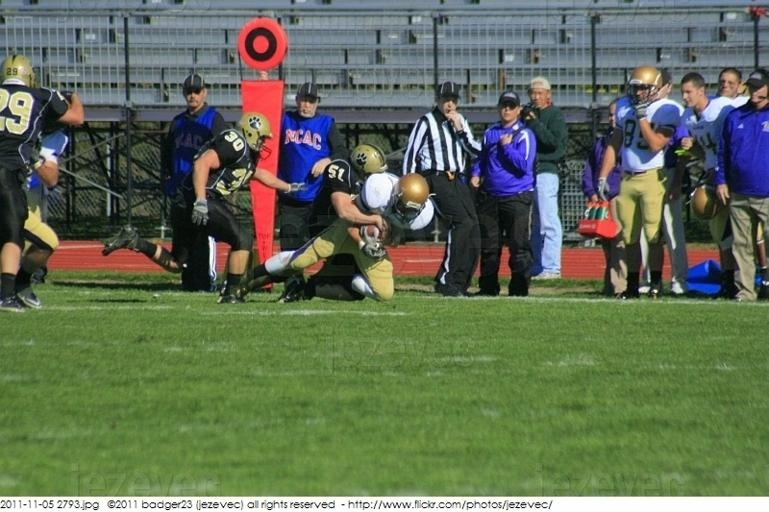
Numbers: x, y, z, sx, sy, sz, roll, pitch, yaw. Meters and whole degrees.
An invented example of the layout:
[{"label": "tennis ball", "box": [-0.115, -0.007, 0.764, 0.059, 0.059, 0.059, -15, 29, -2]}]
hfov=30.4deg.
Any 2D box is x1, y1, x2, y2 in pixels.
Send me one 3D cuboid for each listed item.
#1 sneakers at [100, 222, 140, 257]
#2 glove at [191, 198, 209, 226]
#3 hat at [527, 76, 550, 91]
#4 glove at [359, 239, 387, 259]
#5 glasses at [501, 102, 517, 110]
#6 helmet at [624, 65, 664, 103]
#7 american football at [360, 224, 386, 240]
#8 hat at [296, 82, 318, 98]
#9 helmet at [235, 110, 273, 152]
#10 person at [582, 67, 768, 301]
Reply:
[{"label": "sneakers", "box": [-2.950, -0.172, 15.694, 0.510, 0.292, 0.223, -25, -2, 1]}, {"label": "glove", "box": [-1.939, -0.443, 14.784, 0.190, 0.250, 0.069, 18, 20, 4]}, {"label": "hat", "box": [1.927, -2.068, 17.351, 0.351, 0.210, 0.257, -9, 10, -44]}, {"label": "glove", "box": [-0.129, -0.060, 14.822, 0.284, 0.205, 0.168, 0, 2, -8]}, {"label": "glasses", "box": [1.418, -1.694, 16.268, 0.111, 0.078, 0.178, 2, -1, 5]}, {"label": "helmet", "box": [2.882, -1.871, 15.538, 0.453, 0.408, 0.351, -18, 22, -41]}, {"label": "american football", "box": [-0.140, -0.236, 14.725, 0.203, 0.186, 0.156, -23, 28, 11]}, {"label": "hat", "box": [-0.895, -1.860, 16.176, 0.231, 0.182, 0.271, 1, 3, -3]}, {"label": "helmet", "box": [-1.407, -1.308, 15.193, 0.334, 0.425, 0.433, 1, 2, -6]}, {"label": "person", "box": [2.949, -0.801, 15.892, 1.251, 2.522, 1.112, 1, 2, 9]}]
